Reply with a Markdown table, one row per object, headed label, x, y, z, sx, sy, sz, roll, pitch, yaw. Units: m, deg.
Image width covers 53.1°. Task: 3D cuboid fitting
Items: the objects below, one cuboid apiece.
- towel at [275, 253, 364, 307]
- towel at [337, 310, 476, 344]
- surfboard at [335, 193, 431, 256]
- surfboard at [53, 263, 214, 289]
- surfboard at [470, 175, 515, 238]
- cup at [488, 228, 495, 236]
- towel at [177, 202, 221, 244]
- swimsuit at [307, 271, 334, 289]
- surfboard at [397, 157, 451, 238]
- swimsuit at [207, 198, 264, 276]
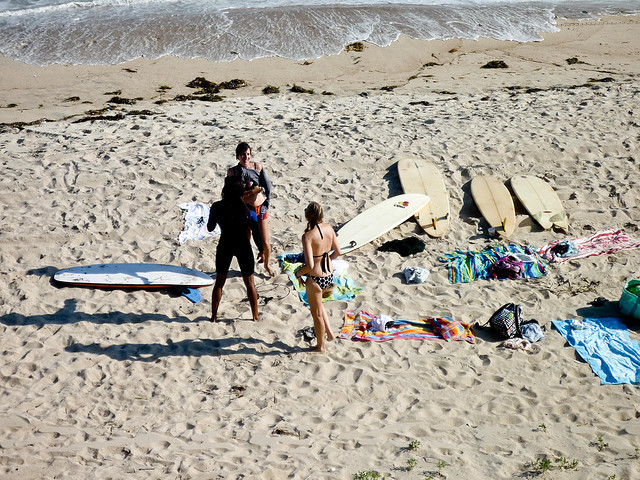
| label | x | y | z | sx | sy | sz | roll | pitch | yaw |
| --- | --- | --- | --- | --- | --- | --- | --- | --- | --- |
| towel | 0.030 | 0.645 | 10.806 | 1.061 | 0.101 | 1.291 | -14 | 40 | -18 |
| towel | 1.341 | 1.374 | 9.962 | 1.920 | 0.022 | 0.867 | 3 | 13 | 2 |
| surfboard | 1.102 | -0.369 | 11.846 | 2.691 | 0.299 | 0.664 | -20 | 51 | -21 |
| surfboard | -3.086 | 0.588 | 10.562 | 2.435 | 0.205 | 0.539 | 0 | 39 | -1 |
| surfboard | 3.373 | -0.713 | 12.361 | 0.613 | 0.321 | 1.346 | -1 | 39 | 2 |
| cup | 3.226 | -0.158 | 11.907 | 0.158 | 0.120 | 0.125 | 9 | 50 | 23 |
| towel | -2.266 | -0.323 | 11.722 | 1.075 | 0.232 | 0.778 | -11 | 65 | -20 |
| swimsuit | 0.008 | 0.578 | 9.164 | 0.305 | 0.105 | 0.294 | 9 | 11 | 28 |
| surfboard | 2.065 | -0.905 | 12.691 | 0.894 | 0.439 | 2.129 | -2 | 56 | -7 |
| swimsuit | -1.290 | -0.039 | 9.539 | 0.661 | 1.367 | 0.517 | -6 | 24 | -21 |
